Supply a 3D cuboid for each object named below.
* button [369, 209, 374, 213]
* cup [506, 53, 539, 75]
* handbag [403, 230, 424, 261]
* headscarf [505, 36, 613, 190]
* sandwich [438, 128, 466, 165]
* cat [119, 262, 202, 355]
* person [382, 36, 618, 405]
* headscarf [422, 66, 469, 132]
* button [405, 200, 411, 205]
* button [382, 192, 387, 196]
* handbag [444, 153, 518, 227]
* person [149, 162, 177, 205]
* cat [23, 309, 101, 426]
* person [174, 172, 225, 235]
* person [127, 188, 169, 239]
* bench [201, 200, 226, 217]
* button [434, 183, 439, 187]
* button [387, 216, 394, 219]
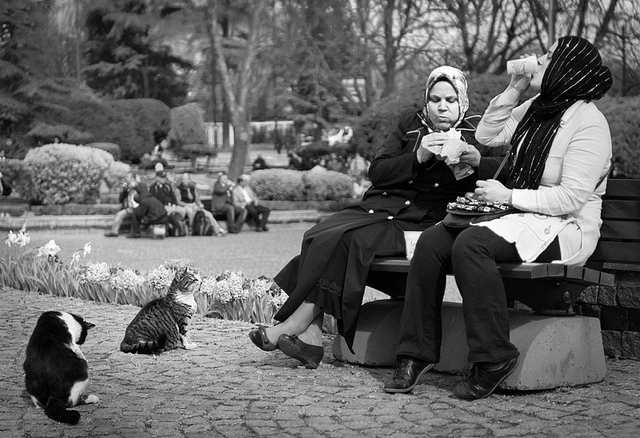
[{"bbox_3d":[0.440,-0.066,6.121,0.028,0.027,0.006,-1,-13,12],"label":"button"},{"bbox_3d":[1.553,-1.168,5.456,0.290,0.176,0.174,-2,-22,15],"label":"cup"},{"bbox_3d":[0.753,0.203,5.924,0.201,0.256,0.199,6,-6,-37],"label":"handbag"},{"bbox_3d":[1.829,-0.820,5.468,0.765,1.156,0.389,0,6,15],"label":"headscarf"},{"bbox_3d":[1.041,-0.576,5.574,0.224,0.250,0.124,9,-8,38],"label":"sandwich"},{"bbox_3d":[-1.482,0.914,6.779,0.523,0.780,0.882,6,7,20],"label":"cat"},{"bbox_3d":[1.424,-0.028,5.376,1.450,2.655,1.008,-6,8,-41],"label":"person"},{"bbox_3d":[1.055,-0.988,6.146,0.391,0.504,0.412,-6,-12,29],"label":"headscarf"},{"bbox_3d":[0.750,-0.143,6.109,0.052,0.035,0.039,-3,6,-14],"label":"button"},{"bbox_3d":[0.565,-0.220,6.221,0.037,0.037,0.014,-1,4,15],"label":"button"},{"bbox_3d":[1.349,-0.215,5.403,0.764,0.425,1.056,-4,-4,7],"label":"handbag"},{"bbox_3d":[-3.624,-0.761,16.412,0.657,1.047,0.631,1,-11,-39],"label":"person"},{"bbox_3d":[-1.915,1.063,5.253,0.428,0.427,0.881,-12,36,-6],"label":"cat"},{"bbox_3d":[-2.927,-0.367,16.854,0.649,0.923,1.658,-12,20,-29],"label":"person"},{"bbox_3d":[-3.812,-0.097,15.625,0.872,0.923,0.571,-3,6,-20],"label":"person"},{"bbox_3d":[-2.783,-0.225,17.971,0.610,0.147,0.410,15,21,39],"label":"bench"},{"bbox_3d":[0.997,-0.291,6.079,0.036,0.036,0.008,0,-4,9],"label":"button"},{"bbox_3d":[0.591,-0.013,6.021,0.047,0.021,0.019,-2,6,-11],"label":"button"}]
